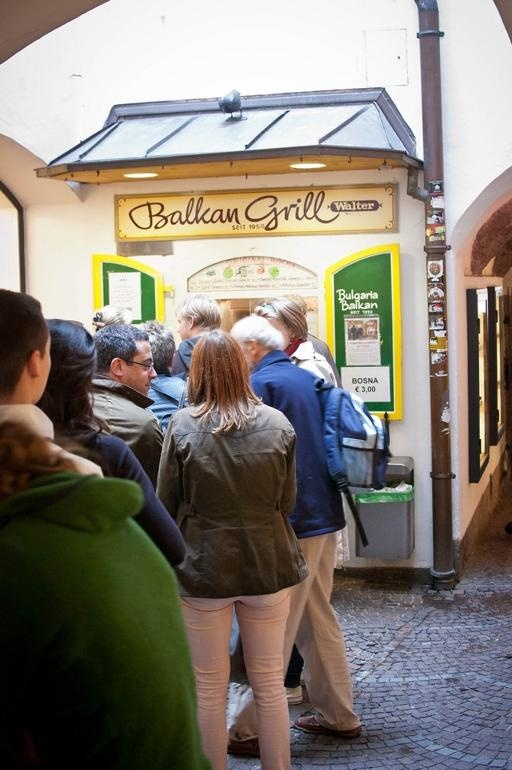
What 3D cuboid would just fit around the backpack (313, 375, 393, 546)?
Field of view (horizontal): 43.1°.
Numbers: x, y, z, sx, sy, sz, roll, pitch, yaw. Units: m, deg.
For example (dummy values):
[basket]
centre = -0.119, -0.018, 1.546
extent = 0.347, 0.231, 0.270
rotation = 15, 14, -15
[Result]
[backpack]
centre = 0.577, 0.360, 3.450
extent = 0.364, 0.614, 0.573
rotation = 15, 21, 41
